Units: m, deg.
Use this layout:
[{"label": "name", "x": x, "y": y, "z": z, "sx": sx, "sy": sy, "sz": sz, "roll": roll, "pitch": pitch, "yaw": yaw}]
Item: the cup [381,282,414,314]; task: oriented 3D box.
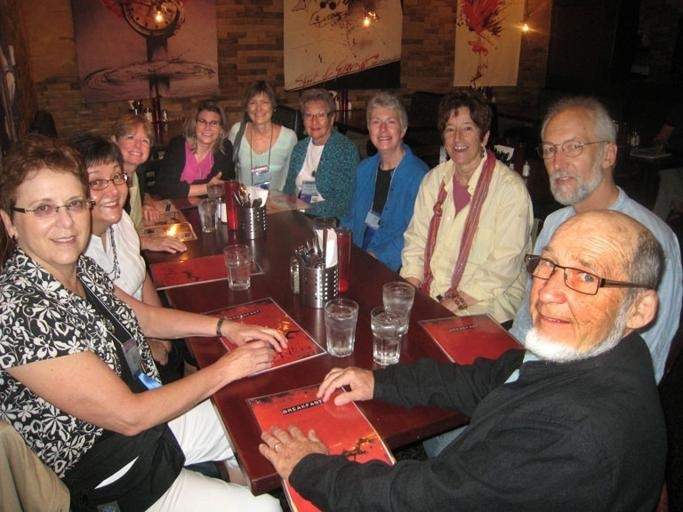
[{"label": "cup", "x": 0.220, "y": 0.158, "z": 2.047, "sx": 0.113, "sy": 0.129, "sz": 0.114, "roll": 0, "pitch": 24, "yaw": 0}]

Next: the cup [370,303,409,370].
[{"label": "cup", "x": 0.172, "y": 0.274, "z": 1.847, "sx": 0.160, "sy": 0.200, "sz": 0.160, "roll": 3, "pitch": 25, "yaw": -2}]

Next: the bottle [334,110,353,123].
[{"label": "bottle", "x": 0.023, "y": -1.592, "z": 5.910, "sx": 0.236, "sy": 0.087, "sz": 0.368, "roll": 0, "pitch": 35, "yaw": 0}]

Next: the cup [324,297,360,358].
[{"label": "cup", "x": 0.001, "y": 0.262, "z": 1.815, "sx": 0.110, "sy": 0.159, "sz": 0.106, "roll": 2, "pitch": 34, "yaw": -1}]

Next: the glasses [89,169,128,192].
[{"label": "glasses", "x": -1.033, "y": -0.333, "z": 2.264, "sx": 0.159, "sy": 0.045, "sz": 0.168, "roll": -10, "pitch": 13, "yaw": 23}]

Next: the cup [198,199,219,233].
[{"label": "cup", "x": -0.726, "y": -0.215, "z": 2.823, "sx": 0.125, "sy": 0.190, "sz": 0.129, "roll": 4, "pitch": 35, "yaw": -3}]
